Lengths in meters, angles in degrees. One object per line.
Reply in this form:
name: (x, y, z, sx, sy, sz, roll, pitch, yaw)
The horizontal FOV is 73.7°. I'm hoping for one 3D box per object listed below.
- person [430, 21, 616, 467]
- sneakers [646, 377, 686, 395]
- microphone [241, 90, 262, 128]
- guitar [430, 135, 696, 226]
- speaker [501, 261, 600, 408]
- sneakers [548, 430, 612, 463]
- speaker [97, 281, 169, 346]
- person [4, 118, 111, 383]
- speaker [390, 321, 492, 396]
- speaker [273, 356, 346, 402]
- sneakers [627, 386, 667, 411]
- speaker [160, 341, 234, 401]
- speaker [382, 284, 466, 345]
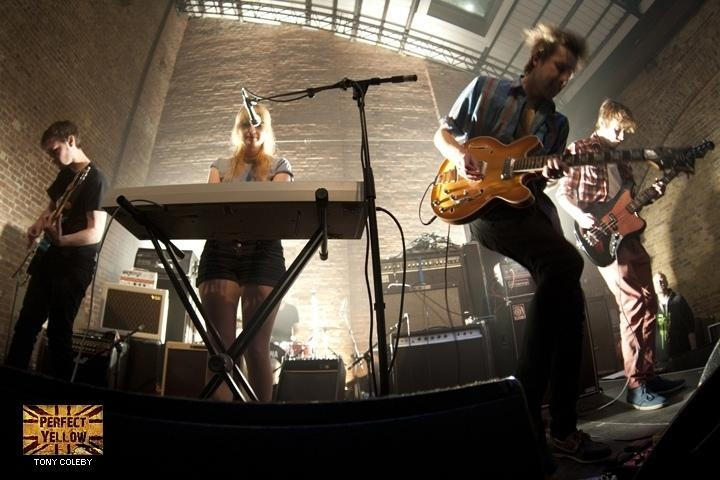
person: (0.816, -0.135, 2.406, 0.790, 2.167, 0.722, 6, -10, -31)
sneakers: (1.983, 0.941, 3.123, 0.305, 0.127, 0.102, 1, -12, -14)
microphone: (-0.570, -0.690, 2.541, 0.108, 0.184, 0.062, -32, 24, -24)
guitar: (1.568, -0.415, 3.413, 1.230, 0.470, 0.166, -9, -17, 1)
speaker: (1.420, 0.695, 3.667, 0.622, 1.024, 0.692, -7, -11, 25)
sneakers: (0.907, 0.858, 2.003, 0.211, 0.089, 0.103, -7, -14, 23)
speaker: (-1.934, 0.625, 4.005, 0.506, 0.430, 0.269, 15, -27, -39)
person: (-1.978, -0.017, 3.211, 0.467, 1.788, 0.643, 5, -10, -27)
speaker: (0.590, 0.834, 3.650, 0.720, 0.667, 0.402, -9, 26, 2)
speaker: (-0.313, 0.950, 3.139, 0.405, 0.355, 0.310, -6, -40, 8)
sneakers: (1.760, 0.986, 2.969, 0.107, 0.088, 0.208, -7, -17, -20)
speaker: (-1.255, 1.045, 3.776, 0.518, 0.494, 0.295, -2, -15, 32)
speaker: (0.561, 0.543, 4.508, 0.785, 0.489, 0.431, -7, 22, 3)
